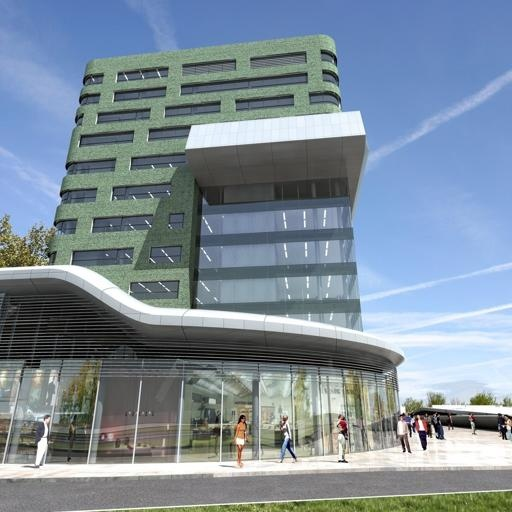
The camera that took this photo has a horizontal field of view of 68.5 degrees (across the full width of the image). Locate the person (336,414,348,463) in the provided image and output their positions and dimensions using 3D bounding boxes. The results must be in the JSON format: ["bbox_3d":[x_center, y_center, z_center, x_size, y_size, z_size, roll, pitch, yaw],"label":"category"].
[{"bbox_3d":[3.002,6.296,13.035,0.346,1.455,1.050,-4,-22,11],"label":"person"}]

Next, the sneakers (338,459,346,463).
[{"bbox_3d":[2.889,6.814,12.484,0.322,0.138,0.097,-6,-20,8],"label":"sneakers"}]

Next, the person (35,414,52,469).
[{"bbox_3d":[-6.878,5.901,12.050,0.388,1.499,0.951,11,-24,-24],"label":"person"}]

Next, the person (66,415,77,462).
[{"bbox_3d":[-6.364,6.230,12.895,0.304,1.415,0.112,-3,-22,11],"label":"person"}]
